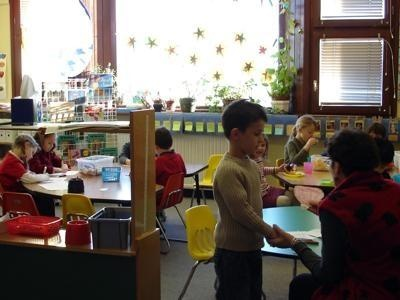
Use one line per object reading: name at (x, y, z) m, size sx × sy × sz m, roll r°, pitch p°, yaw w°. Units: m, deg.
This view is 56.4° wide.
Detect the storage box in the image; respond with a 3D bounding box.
storage box at (-0.473, 0.420, 2.009) m, size 0.152 × 0.117 × 0.232 m, roll 0°, pitch 1°, yaw 1°

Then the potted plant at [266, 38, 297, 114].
potted plant at (1.192, -1.109, 5.562) m, size 0.466 × 1.106 × 0.337 m, roll 1°, pitch 4°, yaw 14°

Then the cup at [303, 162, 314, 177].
cup at (1.128, 0.207, 3.920) m, size 0.100 × 0.123 × 0.103 m, roll 0°, pitch 0°, yaw 0°

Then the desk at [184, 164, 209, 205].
desk at (-0.051, 0.461, 4.707) m, size 0.445 × 0.500 × 0.470 m, roll -1°, pitch 10°, yaw -8°

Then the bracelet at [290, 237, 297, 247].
bracelet at (0.491, 0.484, 1.978) m, size 0.031 × 0.022 × 0.036 m, roll 0°, pitch -32°, yaw -35°

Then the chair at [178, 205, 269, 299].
chair at (0.155, 0.706, 2.857) m, size 0.550 × 0.811 × 0.480 m, roll -3°, pitch -2°, yaw 33°

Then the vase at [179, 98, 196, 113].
vase at (-0.205, -0.700, 5.820) m, size 0.206 × 0.168 × 0.212 m, roll -3°, pitch 9°, yaw -23°
